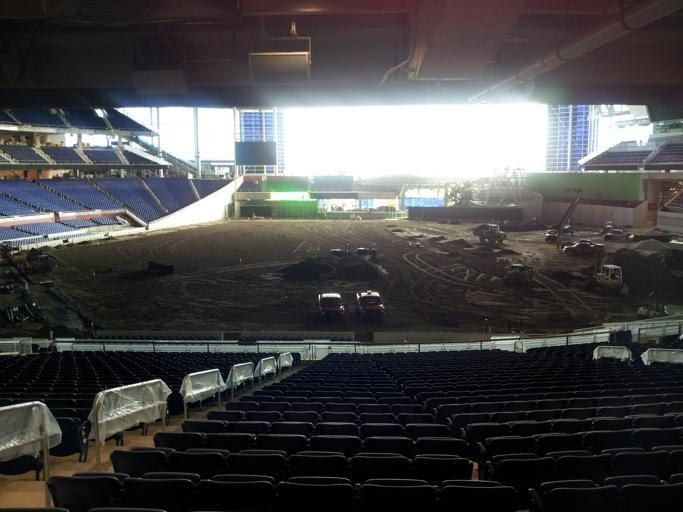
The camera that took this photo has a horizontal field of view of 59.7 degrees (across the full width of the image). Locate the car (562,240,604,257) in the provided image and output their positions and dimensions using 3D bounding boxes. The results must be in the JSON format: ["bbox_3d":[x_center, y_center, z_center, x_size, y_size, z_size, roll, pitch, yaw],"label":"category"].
[{"bbox_3d":[15.613,-0.482,38.443,2.176,0.591,1.155,3,7,21],"label":"car"}]

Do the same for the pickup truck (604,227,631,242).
[{"bbox_3d":[20.229,-1.531,43.699,1.939,0.714,1.006,-2,13,6],"label":"pickup truck"}]

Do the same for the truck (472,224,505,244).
[{"bbox_3d":[11.268,-1.654,45.387,1.713,0.766,2.671,0,6,6],"label":"truck"}]

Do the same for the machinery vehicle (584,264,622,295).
[{"bbox_3d":[13.144,1.090,29.661,1.398,1.443,1.853,3,17,7],"label":"machinery vehicle"}]
